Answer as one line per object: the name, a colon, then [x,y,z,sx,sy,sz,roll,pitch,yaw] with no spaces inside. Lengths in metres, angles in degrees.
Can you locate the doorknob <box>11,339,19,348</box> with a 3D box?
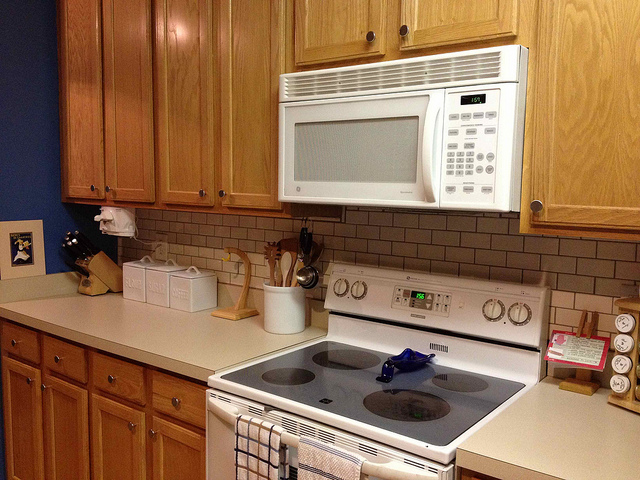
doorknob: [-1.594,0.538,2.662,0.032,0.033,0.052,3,-1,22]

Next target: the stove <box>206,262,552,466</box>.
stove: [0.233,0.466,1.971,1.115,0.600,0.908,0,5,39]

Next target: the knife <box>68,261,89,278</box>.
knife: [-1.399,0.170,2.972,0.094,0.025,0.095,21,-19,34]

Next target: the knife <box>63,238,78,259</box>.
knife: [-1.435,0.057,2.958,0.049,0.119,0.102,0,11,3]

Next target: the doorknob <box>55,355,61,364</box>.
doorknob: [-1.260,0.575,2.455,0.027,0.039,0.036,8,-21,-41]

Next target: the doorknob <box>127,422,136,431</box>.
doorknob: [-0.810,0.802,2.195,0.023,0.021,0.040,9,4,36]

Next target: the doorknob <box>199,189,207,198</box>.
doorknob: [-0.548,-0.220,2.391,0.032,0.036,0.032,5,-5,-37]

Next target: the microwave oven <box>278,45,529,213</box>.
microwave oven: [0.257,-0.381,1.915,0.868,0.542,0.247,3,3,28]

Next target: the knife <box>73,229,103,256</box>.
knife: [-1.376,0.010,3.005,0.047,0.065,0.237,-12,-31,23]

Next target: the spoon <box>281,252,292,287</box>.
spoon: [-0.160,0.141,2.467,0.039,0.168,0.022,-1,-12,32]

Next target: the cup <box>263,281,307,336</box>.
cup: [-0.165,0.314,2.436,0.196,0.221,0.212,0,3,0]

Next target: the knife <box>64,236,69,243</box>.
knife: [-1.442,-0.001,2.903,0.018,0.029,0.008,0,-10,11]
